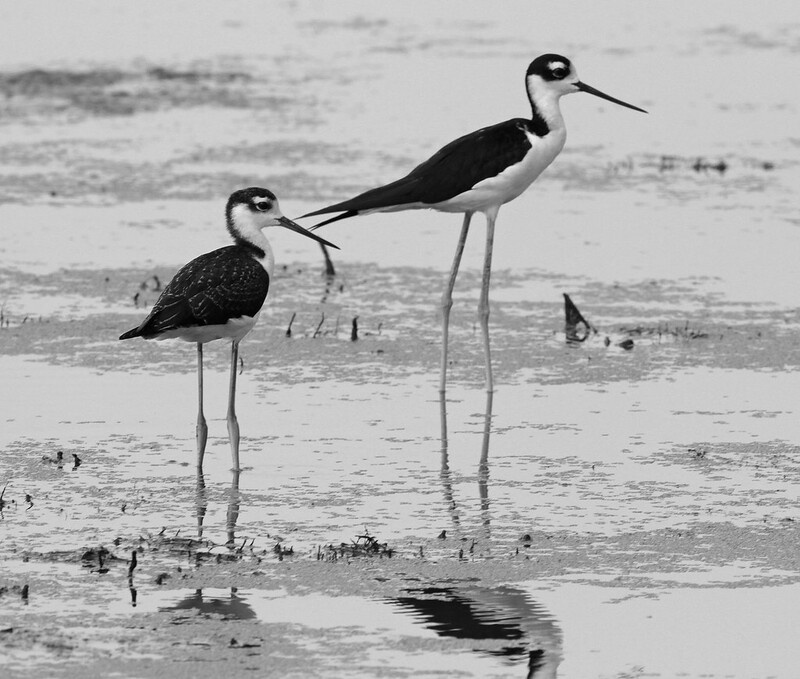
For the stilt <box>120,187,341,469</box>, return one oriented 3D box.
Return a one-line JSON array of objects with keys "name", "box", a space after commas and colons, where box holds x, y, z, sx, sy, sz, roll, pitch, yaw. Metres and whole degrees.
[{"name": "stilt", "box": [-1.238, -0.081, 9.013, 0.630, 1.867, 1.154, 3, 3, 17]}]
